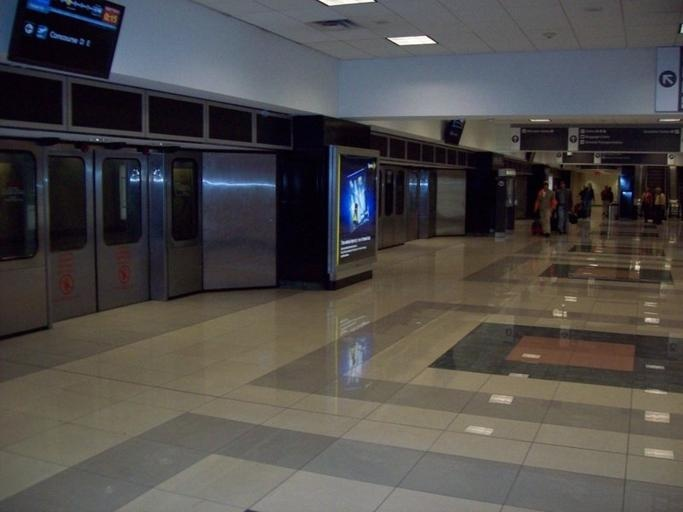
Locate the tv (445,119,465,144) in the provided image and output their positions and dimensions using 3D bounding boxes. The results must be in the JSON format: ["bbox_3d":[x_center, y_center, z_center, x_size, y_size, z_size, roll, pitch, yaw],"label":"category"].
[{"bbox_3d":[3.694,-4.087,15.653,0.458,0.765,1.103,6,9,40],"label":"tv"}]
